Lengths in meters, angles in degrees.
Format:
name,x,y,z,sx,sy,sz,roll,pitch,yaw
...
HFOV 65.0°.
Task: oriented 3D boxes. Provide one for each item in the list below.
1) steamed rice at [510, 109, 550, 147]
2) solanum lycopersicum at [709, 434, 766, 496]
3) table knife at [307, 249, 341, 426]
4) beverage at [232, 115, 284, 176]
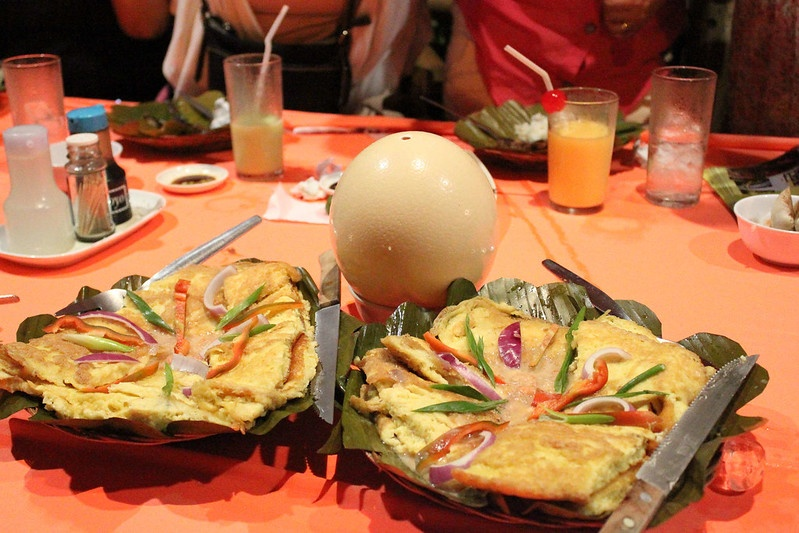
name,x,y,z,sx,sy,sz,roll,pitch,yaw
steamed rice,0.431,-0.447,2.079,0.126,0.053,0.126,19,52,38
solanum lycopersicum,0.563,0.330,1.076,0.098,0.071,0.115,-4,3,5
table knife,-0.149,0.121,1.236,0.044,0.032,0.388,17,33,-16
beverage,-0.424,-0.393,2.090,0.193,0.199,0.182,3,28,5
